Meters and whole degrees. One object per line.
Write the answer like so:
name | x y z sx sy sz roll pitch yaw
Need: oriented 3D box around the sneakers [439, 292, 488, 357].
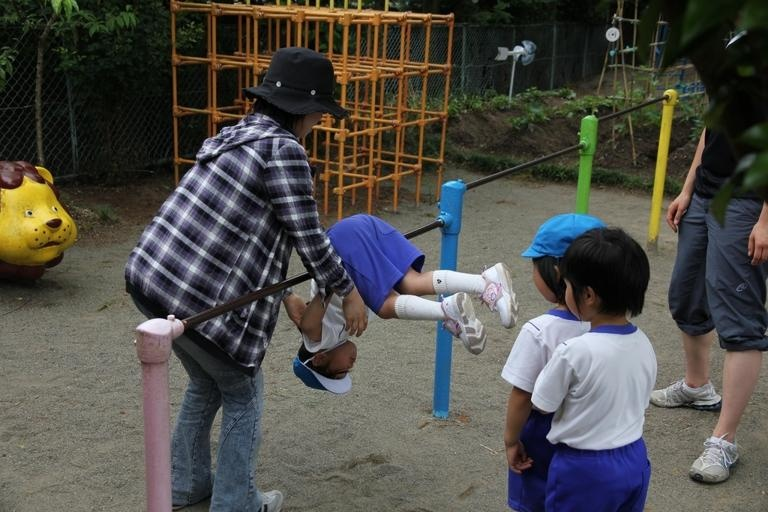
sneakers | 0.475 0.423 4.644 0.248 0.229 0.549 11 -17 15

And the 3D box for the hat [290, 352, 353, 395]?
hat | -0.378 0.721 4.557 0.215 0.106 0.299 -21 66 -49

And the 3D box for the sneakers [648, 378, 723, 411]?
sneakers | 1.960 0.908 5.276 0.494 0.223 0.209 3 11 12

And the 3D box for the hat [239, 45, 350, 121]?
hat | -0.444 -0.909 4.168 0.578 0.327 0.624 13 12 11

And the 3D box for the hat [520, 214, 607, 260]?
hat | 0.877 -0.090 3.929 0.478 0.227 0.334 -1 2 12

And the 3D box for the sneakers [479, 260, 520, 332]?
sneakers | 0.655 0.216 4.577 0.196 0.150 0.429 -20 56 3

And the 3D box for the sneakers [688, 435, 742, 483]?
sneakers | 1.927 1.187 4.639 0.180 0.237 0.251 14 21 37
